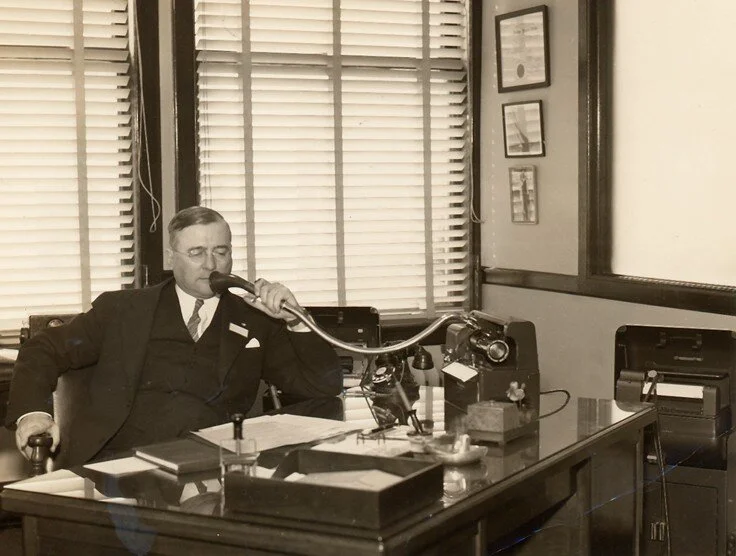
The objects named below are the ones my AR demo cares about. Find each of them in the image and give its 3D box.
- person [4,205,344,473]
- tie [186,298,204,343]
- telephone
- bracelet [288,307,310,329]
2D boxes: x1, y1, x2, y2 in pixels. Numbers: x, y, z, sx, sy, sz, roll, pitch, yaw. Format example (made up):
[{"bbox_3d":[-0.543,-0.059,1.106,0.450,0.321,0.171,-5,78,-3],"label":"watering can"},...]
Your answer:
[{"bbox_3d":[-0.829,0.232,3.261,0.951,1.489,0.532,11,-17,-20],"label":"person"},{"bbox_3d":[-0.653,0.159,3.179,0.041,0.160,0.021,14,-22,-3],"label":"tie"},{"bbox_3d":[0.104,0.359,3.135,0.296,0.210,0.205,-14,13,-5],"label":"telephone"},{"bbox_3d":[-0.244,0.140,2.936,0.080,0.045,0.059,25,-30,-2],"label":"bracelet"}]
